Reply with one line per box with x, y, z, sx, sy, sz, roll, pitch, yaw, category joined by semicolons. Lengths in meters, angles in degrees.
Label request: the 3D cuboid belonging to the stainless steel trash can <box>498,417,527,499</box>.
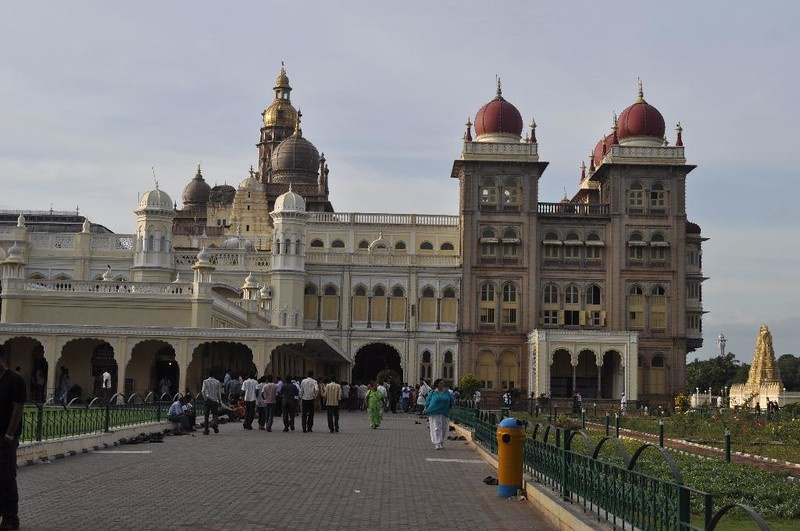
2.425;4.201;25.683;0.596;1.720;0.524;3;-10;-4;stainless steel trash can

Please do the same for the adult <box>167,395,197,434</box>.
-6.701;4.629;36.336;1.070;1.381;0.835;-6;0;-7;adult

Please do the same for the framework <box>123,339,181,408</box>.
-10.304;4.424;48.547;1.778;3.175;2.541;-3;-4;15;framework

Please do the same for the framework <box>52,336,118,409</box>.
-13.338;4.489;50.181;2.503;2.799;2.826;5;-10;-16;framework

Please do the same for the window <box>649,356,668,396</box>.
15.484;6.539;70.505;1.020;2.333;0.499;1;-10;7;window

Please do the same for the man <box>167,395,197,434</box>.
-6.689;4.654;36.328;1.070;1.381;0.835;-6;0;-7;man

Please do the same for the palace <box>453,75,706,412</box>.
11.090;-0.637;76.522;19.064;20.177;19.024;0;-5;1;palace

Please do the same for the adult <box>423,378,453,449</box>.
1.121;4.245;33.454;0.743;2.003;1.994;2;-9;2;adult
